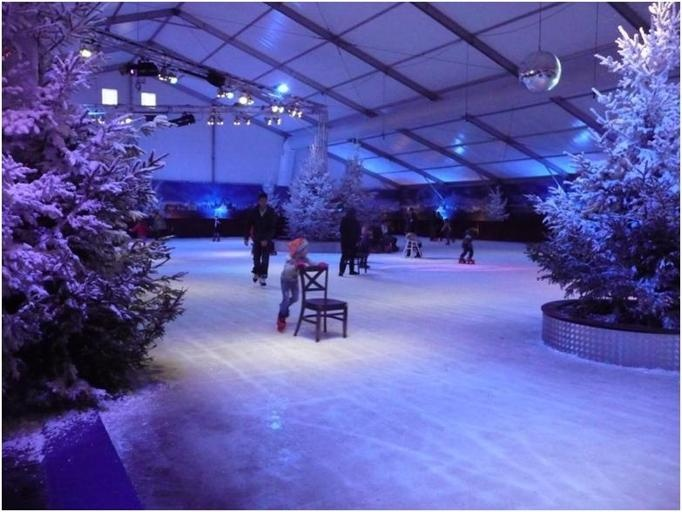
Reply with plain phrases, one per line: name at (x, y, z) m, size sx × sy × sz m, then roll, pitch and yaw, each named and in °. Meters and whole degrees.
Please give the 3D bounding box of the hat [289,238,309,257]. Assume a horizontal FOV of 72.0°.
hat at (-0.583, -0.114, 6.474) m, size 0.188 × 0.090 × 0.272 m, roll -24°, pitch 2°, yaw 30°

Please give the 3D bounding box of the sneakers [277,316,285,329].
sneakers at (-0.838, 0.929, 6.537) m, size 0.134 × 0.170 × 0.418 m, roll 1°, pitch -5°, yaw -10°

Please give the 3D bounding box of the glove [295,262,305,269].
glove at (-0.557, 0.132, 6.337) m, size 0.106 × 0.081 × 0.179 m, roll 3°, pitch 0°, yaw -6°

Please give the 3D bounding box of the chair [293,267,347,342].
chair at (-0.268, 0.608, 6.311) m, size 0.637 × 0.934 × 0.689 m, roll 1°, pitch 3°, yaw -18°

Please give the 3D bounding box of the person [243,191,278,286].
person at (-1.771, -0.395, 10.364) m, size 0.583 × 1.617 × 1.170 m, roll 3°, pitch 1°, yaw -12°
